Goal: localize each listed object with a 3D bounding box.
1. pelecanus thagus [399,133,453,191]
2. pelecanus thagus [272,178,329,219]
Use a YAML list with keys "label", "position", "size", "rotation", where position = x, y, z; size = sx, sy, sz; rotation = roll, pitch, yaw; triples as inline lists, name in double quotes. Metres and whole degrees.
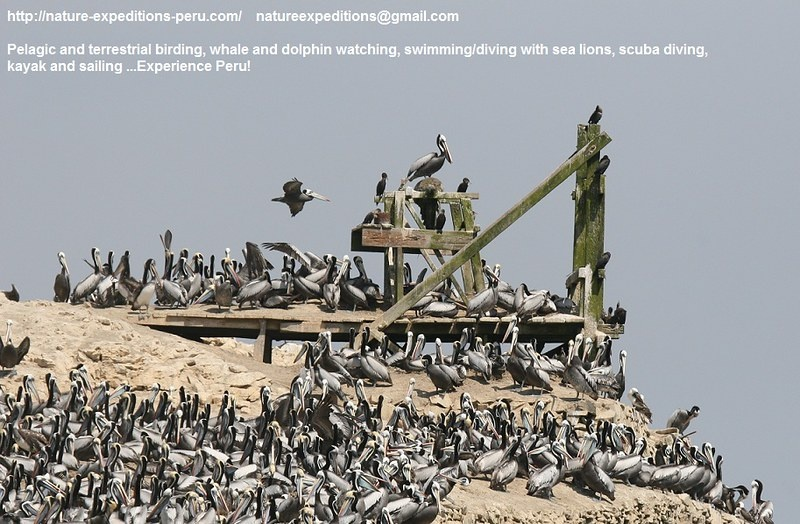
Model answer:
- label: "pelecanus thagus"
  position: [0.712, -2.689, 71.339]
  size: [1.723, 1.446, 0.561]
  rotation: [-3, -2, 39]
- label: "pelecanus thagus"
  position: [-2.887, -1.719, 71.845]
  size: [0.858, 1.055, 1.274]
  rotation: [5, -7, -3]
